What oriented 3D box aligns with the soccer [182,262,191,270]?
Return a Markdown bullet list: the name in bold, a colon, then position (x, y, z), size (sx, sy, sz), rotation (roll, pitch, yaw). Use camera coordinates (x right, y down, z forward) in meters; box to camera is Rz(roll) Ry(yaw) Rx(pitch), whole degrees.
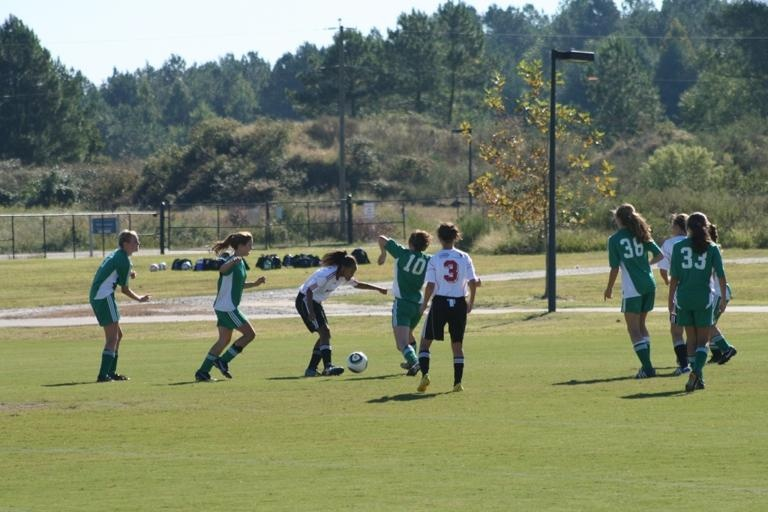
- **soccer**: position (-14.722, 0.959, 127.562), size (0.839, 0.638, 0.577), rotation (-3, 3, -17)
